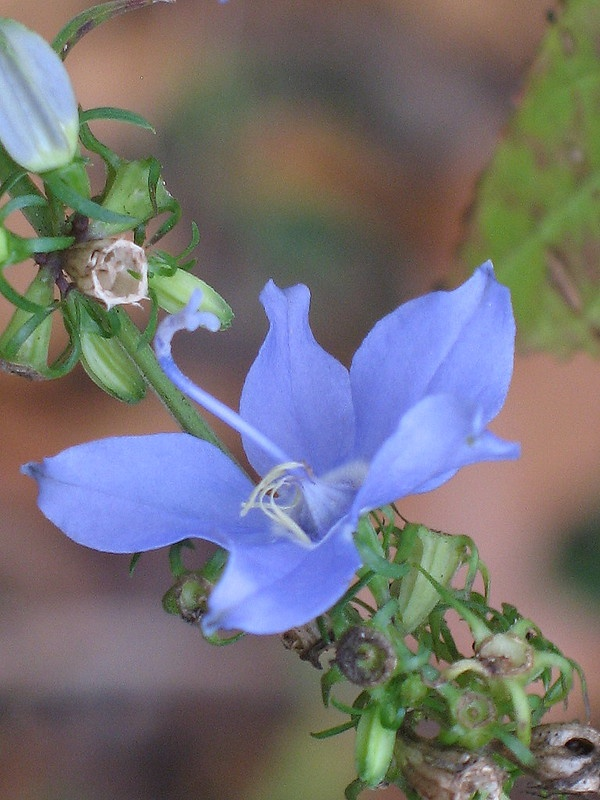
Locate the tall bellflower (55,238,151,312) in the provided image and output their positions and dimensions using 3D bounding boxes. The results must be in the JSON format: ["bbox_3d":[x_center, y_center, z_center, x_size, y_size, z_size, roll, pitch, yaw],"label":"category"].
[{"bbox_3d":[-0.067,-0.045,0.327,0.028,0.027,0.031,36,-3,-13],"label":"tall bellflower"}]
